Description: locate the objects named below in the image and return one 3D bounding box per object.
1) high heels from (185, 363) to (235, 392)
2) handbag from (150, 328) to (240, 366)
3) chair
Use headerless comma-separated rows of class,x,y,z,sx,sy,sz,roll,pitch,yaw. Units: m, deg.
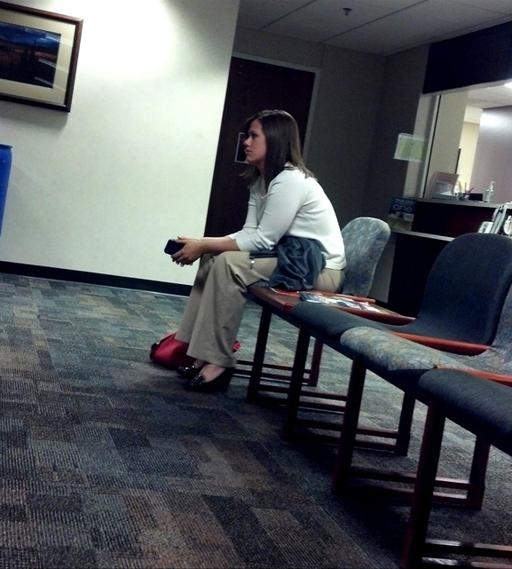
high heels,-0.195,0.416,2.042,0.092,0.091,0.260,4,-2,45
handbag,-0.314,0.284,2.300,0.356,0.135,0.186,-2,11,-23
chair,0.332,0.315,1.432,0.415,0.669,1.079,3,3,-15
